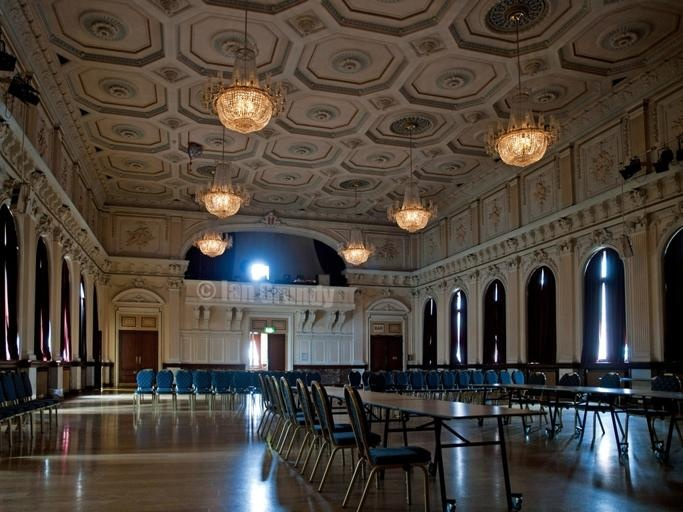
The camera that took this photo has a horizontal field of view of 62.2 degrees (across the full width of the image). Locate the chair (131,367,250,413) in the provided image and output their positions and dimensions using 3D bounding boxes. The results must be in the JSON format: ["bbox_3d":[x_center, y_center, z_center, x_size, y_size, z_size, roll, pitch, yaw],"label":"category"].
[{"bbox_3d":[-3.964,3.438,15.422,3.184,0.811,1.058,1,-14,-9],"label":"chair"}]

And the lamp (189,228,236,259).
[{"bbox_3d":[-5.098,-0.543,21.720,0.965,0.548,1.001,-12,-22,27],"label":"lamp"}]
